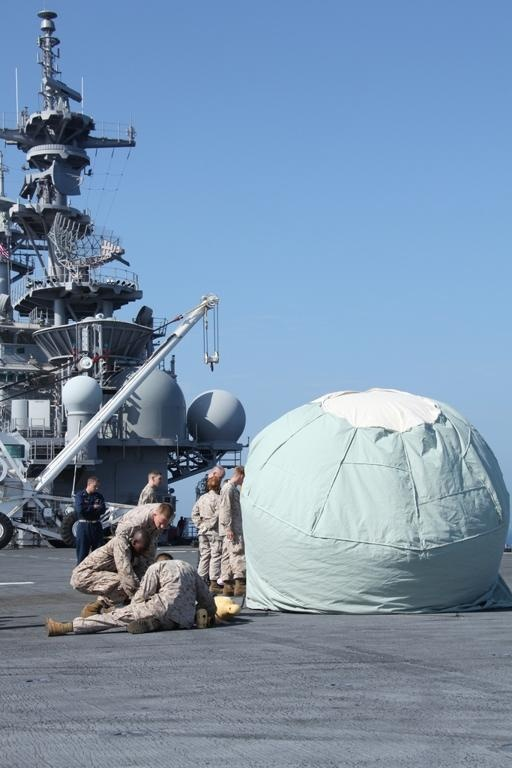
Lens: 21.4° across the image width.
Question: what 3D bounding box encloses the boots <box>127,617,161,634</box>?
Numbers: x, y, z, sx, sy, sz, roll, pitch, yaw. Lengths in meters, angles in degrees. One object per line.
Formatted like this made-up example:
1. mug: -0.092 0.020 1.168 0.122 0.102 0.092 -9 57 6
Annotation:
1. boots: -0.938 1.996 11.171 0.280 0.091 0.182 3 -14 -20

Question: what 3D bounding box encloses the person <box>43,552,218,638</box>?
1. person: -0.932 1.762 11.367 1.106 0.424 0.676 -6 4 -28

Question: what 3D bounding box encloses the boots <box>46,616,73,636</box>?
1. boots: -1.599 1.971 10.998 0.197 0.121 0.098 3 -48 -26
